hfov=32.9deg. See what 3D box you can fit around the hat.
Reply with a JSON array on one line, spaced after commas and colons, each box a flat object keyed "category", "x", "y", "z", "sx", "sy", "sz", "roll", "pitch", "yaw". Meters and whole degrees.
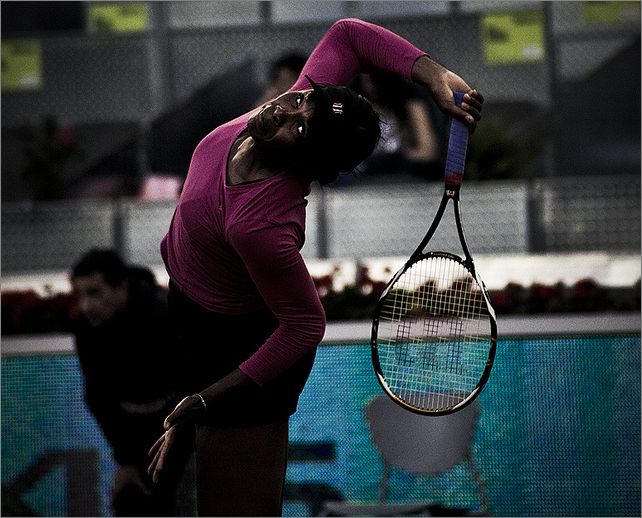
[{"category": "hat", "x": 0.047, "y": -0.578, "z": 4.666, "sx": 0.133, "sy": 0.385, "sz": 0.259, "roll": 1, "pitch": 3, "yaw": 20}]
